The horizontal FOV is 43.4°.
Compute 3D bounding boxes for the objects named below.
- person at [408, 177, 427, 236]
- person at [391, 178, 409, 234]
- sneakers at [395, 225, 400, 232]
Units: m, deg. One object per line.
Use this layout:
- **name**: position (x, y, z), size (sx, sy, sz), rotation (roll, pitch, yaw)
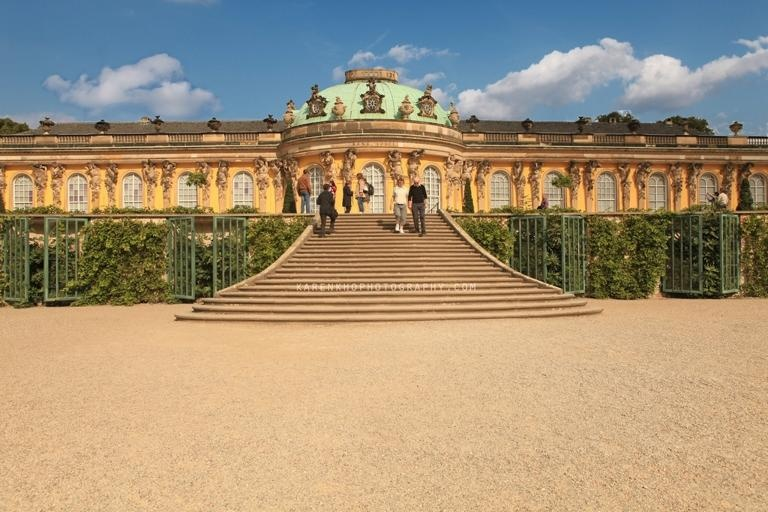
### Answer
- **person**: position (1.151, -1.705, 33.971), size (0.611, 1.972, 1.155), rotation (-1, 1, 1)
- **person**: position (0.570, -1.726, 34.440), size (0.519, 1.831, 1.267), rotation (-1, 1, 0)
- **sneakers**: position (0.457, -0.990, 34.173), size (0.229, 0.127, 0.339), rotation (1, -1, -1)
